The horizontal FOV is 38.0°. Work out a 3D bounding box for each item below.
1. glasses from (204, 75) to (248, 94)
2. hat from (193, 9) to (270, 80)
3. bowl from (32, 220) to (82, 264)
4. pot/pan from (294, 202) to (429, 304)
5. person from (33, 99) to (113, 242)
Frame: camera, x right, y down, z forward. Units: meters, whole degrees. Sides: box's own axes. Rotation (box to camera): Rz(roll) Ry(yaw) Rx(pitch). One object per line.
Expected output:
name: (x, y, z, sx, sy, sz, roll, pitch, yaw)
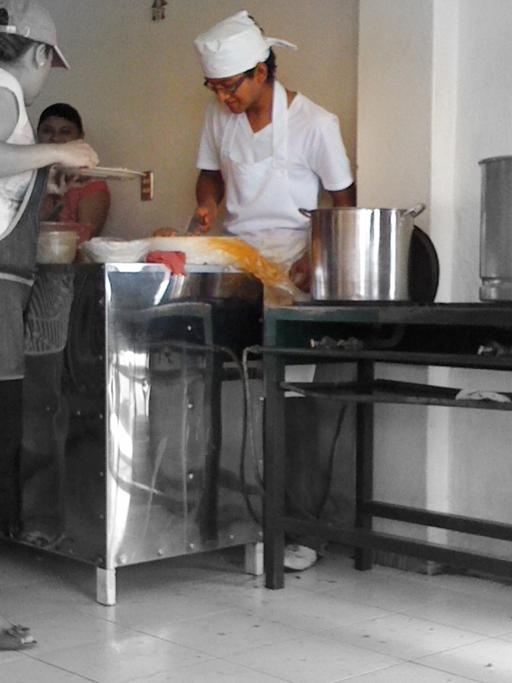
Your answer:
glasses: (-0.067, -0.747, 2.159, 0.079, 0.023, 0.079, 17, 46, 35)
hat: (-0.052, -0.864, 2.143, 0.239, 0.117, 0.172, -25, 35, -6)
bowl: (-0.554, -0.265, 2.053, 0.156, 0.112, 0.153, 1, 4, 0)
pot/pan: (0.258, -0.188, 1.827, 0.274, 0.185, 0.262, 0, 1, 43)
person: (-0.879, -0.713, 3.367, 0.367, 0.765, 0.240, 8, 29, -7)
